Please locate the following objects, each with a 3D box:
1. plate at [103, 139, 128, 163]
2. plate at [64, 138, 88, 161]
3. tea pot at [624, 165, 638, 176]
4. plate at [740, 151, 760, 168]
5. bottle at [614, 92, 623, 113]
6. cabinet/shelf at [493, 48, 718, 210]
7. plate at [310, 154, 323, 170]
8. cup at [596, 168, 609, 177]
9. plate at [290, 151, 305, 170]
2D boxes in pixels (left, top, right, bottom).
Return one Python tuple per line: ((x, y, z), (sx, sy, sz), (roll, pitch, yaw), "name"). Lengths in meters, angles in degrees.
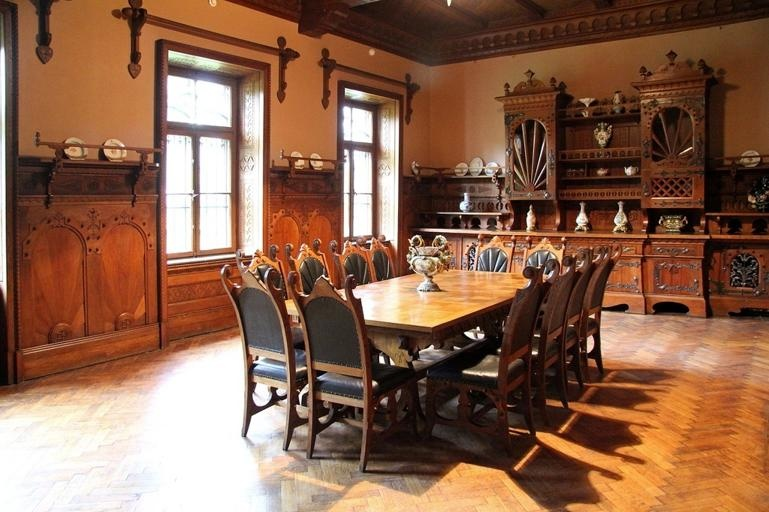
((-2.924, -1.142, 5.696), (0.241, 0.236, 0.344), (-6, 14, -27), "plate")
((-3.194, -1.104, 5.415), (0.214, 0.219, 0.365), (-7, 14, -29), "plate")
((3.791, -1.298, 8.061), (0.199, 0.130, 0.138), (0, 1, 13), "tea pot")
((5.301, -1.408, 7.576), (0.252, 0.212, 0.175), (8, 15, 32), "plate")
((3.654, -2.382, 8.174), (0.152, 0.327, 0.243), (6, 14, 22), "bottle")
((3.540, -1.927, 8.118), (2.895, 1.973, 0.712), (-1, 0, 28), "cabinet/shelf")
((-0.996, -1.380, 7.720), (0.191, 0.236, 0.280), (-1, 13, -5), "plate")
((3.424, -1.299, 8.254), (0.178, 0.118, 0.148), (2, 7, 41), "cup")
((-1.240, -1.347, 7.452), (0.140, 0.262, 0.310), (5, 14, 21), "plate")
